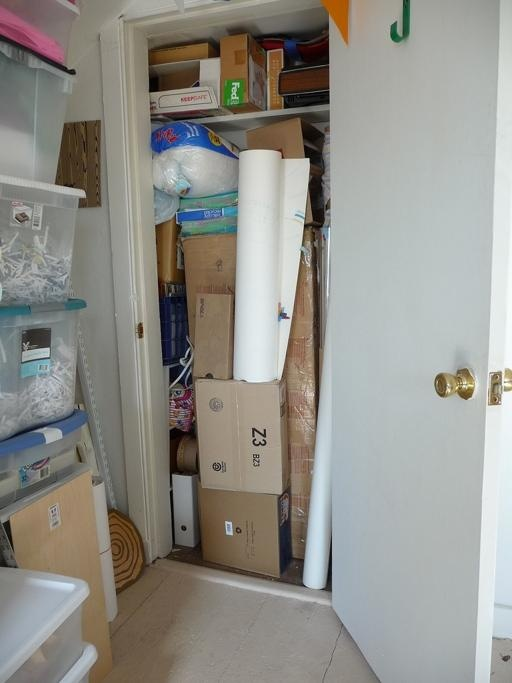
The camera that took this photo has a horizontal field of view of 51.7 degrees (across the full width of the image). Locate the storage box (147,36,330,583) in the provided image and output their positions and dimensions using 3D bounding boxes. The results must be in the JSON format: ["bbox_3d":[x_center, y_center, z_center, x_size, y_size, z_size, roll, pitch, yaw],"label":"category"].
[{"bbox_3d":[-0.017,-0.142,2.140,0.571,2.132,0.359,1,5,9],"label":"storage box"}]
